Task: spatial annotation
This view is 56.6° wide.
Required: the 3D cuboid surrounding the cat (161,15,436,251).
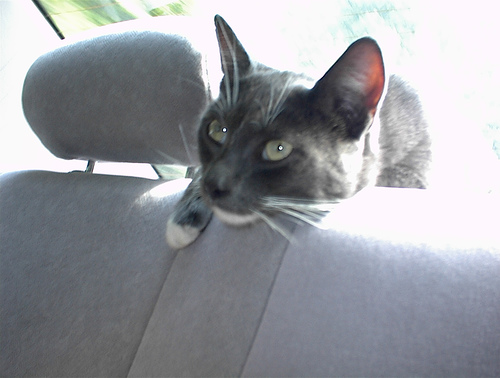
[{"bbox_3d":[0.122,-0.169,0.933,0.473,0.335,0.315,-21,108,-39],"label":"cat"}]
